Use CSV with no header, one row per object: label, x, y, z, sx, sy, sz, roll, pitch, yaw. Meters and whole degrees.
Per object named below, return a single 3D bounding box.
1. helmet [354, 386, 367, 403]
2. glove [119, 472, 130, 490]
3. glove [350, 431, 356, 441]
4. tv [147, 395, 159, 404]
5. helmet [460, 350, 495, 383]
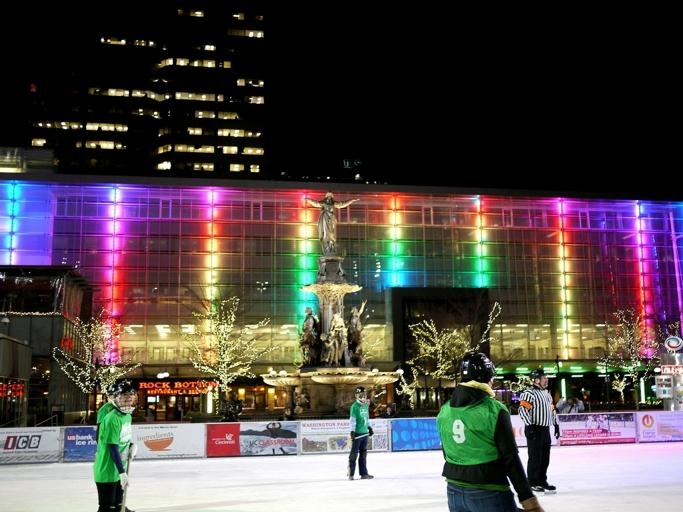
helmet,0.505,3.591,17.681,0.396,0.388,0.425,3,19,6
glove,-3.372,3.479,10.438,0.110,0.280,0.281,0,-9,-23
glove,0.278,4.596,17.287,0.112,0.241,0.068,-9,-11,31
tv,-18.423,13.957,65.712,0.986,0.483,0.126,1,-6,-5
helmet,1.451,1.230,7.285,0.342,0.339,0.410,-12,-15,40
